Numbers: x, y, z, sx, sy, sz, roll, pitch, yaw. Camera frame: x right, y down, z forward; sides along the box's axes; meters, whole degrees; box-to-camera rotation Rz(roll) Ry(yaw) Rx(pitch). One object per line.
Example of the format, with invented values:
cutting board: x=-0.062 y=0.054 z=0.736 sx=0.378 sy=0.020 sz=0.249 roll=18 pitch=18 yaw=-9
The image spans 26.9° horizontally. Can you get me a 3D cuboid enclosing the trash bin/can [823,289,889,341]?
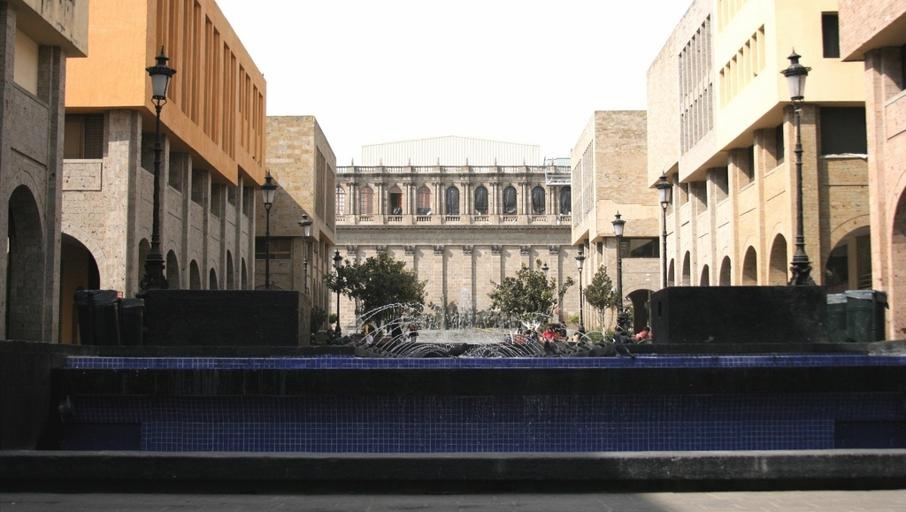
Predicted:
trash bin/can: x=15.780 y=2.321 z=74.244 sx=2.309 sy=1.982 sz=2.206 roll=1 pitch=-5 yaw=-9
